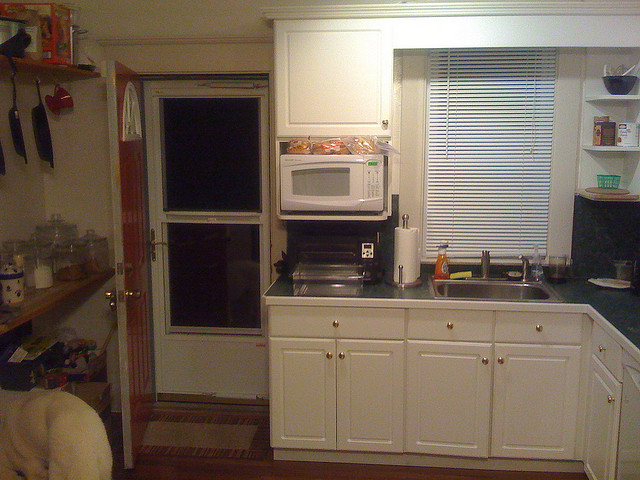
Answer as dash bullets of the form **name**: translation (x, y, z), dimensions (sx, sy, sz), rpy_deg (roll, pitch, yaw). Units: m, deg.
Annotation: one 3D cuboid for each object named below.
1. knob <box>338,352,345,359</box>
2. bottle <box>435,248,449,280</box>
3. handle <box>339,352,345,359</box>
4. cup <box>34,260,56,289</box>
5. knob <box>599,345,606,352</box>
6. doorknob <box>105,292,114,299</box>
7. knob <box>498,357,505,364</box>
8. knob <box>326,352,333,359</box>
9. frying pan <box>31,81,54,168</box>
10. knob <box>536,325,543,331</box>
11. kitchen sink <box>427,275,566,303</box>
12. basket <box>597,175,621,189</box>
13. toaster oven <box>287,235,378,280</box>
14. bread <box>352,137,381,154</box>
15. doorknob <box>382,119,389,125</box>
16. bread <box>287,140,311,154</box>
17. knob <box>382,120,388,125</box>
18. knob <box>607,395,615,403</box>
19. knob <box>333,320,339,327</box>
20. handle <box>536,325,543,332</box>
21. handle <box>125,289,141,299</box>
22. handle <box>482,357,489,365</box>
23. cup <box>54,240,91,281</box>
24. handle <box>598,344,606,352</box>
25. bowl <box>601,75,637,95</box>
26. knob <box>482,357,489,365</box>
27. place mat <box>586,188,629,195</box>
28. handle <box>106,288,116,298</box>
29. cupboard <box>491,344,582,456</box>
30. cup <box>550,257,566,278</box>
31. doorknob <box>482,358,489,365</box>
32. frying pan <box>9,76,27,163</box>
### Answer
- **knob**: translation (0.130, 0.702, 3.414), dimensions (0.036, 0.040, 0.016), rpy_deg (6, 0, -3)
- **bottle**: translation (0.809, 0.157, 3.714), dimensions (0.091, 0.206, 0.058), rpy_deg (3, 9, 12)
- **handle**: translation (0.131, 0.703, 3.410), dimensions (0.026, 0.030, 0.013), rpy_deg (11, -2, -2)
- **cup**: translation (-1.765, 0.211, 3.596), dimensions (0.115, 0.161, 0.210), rpy_deg (-3, 10, -25)
- **knob**: translation (1.565, 0.604, 3.113), dimensions (0.028, 0.026, 0.027), rpy_deg (-2, -31, 21)
- **doorknob**: translation (-1.291, 0.338, 3.452), dimensions (0.067, 0.045, 0.033), rpy_deg (1, 16, -9)
- **knob**: translation (1.075, 0.716, 3.330), dimensions (0.042, 0.042, 0.016), rpy_deg (-2, 9, -14)
- **knob**: translation (0.057, 0.703, 3.420), dimensions (0.032, 0.040, 0.015), rpy_deg (7, -8, 1)
- **frying pan**: translation (-1.856, -0.760, 3.746), dimensions (0.158, 0.589, 0.026), rpy_deg (-1, 6, 22)
- **knob**: translation (1.292, 0.518, 3.304), dimensions (0.036, 0.035, 0.011), rpy_deg (-1, 9, -13)
- **kitchen sink**: translation (1.105, 0.276, 3.652), dimensions (0.690, 0.183, 0.487), rpy_deg (1, 6, 6)
- **basket**: translation (1.833, -0.371, 3.576), dimensions (0.107, 0.062, 0.083), rpy_deg (2, 3, 32)
- **toaster oven**: translation (0.079, 0.114, 3.637), dimensions (0.573, 0.286, 0.042), rpy_deg (1, 9, 0)
- **bread**: translation (0.292, -0.591, 3.525), dimensions (0.177, 0.101, 0.062), rpy_deg (1, 9, 2)
- **doorknob**: translation (0.405, -0.733, 3.484), dimensions (0.040, 0.035, 0.024), rpy_deg (2, 14, 14)
- **bread**: translation (-0.140, -0.591, 3.538), dimensions (0.131, 0.076, 0.045), rpy_deg (3, -5, 1)
- **knob**: translation (0.405, -0.731, 3.484), dimensions (0.031, 0.026, 0.021), rpy_deg (1, 15, 6)
- **knob**: translation (1.547, 0.851, 2.991), dimensions (0.015, 0.046, 0.064), rpy_deg (2, 9, 10)
- **knob**: translation (0.096, 0.506, 3.402), dimensions (0.034, 0.035, 0.008), rpy_deg (10, -7, 6)
- **handle**: translation (1.289, 0.517, 3.304), dimensions (0.037, 0.035, 0.008), rpy_deg (2, 8, 5)
- **handle**: translation (-1.161, 0.336, 3.513), dimensions (0.061, 0.036, 0.059), rpy_deg (3, 13, 3)
- **handle**: translation (0.982, 0.720, 3.337), dimensions (0.034, 0.030, 0.035), rpy_deg (14, 22, 41)
- **cup**: translation (-1.633, 0.133, 3.719), dimensions (0.230, 0.247, 0.148), rpy_deg (-3, 10, -25)
- **handle**: translation (1.562, 0.602, 3.114), dimensions (0.028, 0.021, 0.020), rpy_deg (-3, 26, 28)
- **bowl**: translation (1.866, -0.950, 3.503), dimensions (0.140, 0.071, 0.134), rpy_deg (0, 9, 0)
- **knob**: translation (0.981, 0.718, 3.337), dimensions (0.032, 0.027, 0.031), rpy_deg (-16, 22, -41)
- **place mat**: translation (1.810, -0.307, 3.543), dimensions (0.239, 0.033, 0.122), rpy_deg (4, 9, 23)
- **handle**: translation (-1.346, 0.344, 3.619), dimensions (0.054, 0.047, 0.028), rpy_deg (2, 15, 1)
- **cupboard**: translation (1.328, 0.920, 3.596), dimensions (0.549, 0.658, 0.476), rpy_deg (3, 9, 13)
- **cup**: translation (1.577, 0.179, 3.718), dimensions (0.126, 0.131, 0.121), rpy_deg (0, 5, 0)
- **doorknob**: translation (0.981, 0.721, 3.337), dimensions (0.033, 0.030, 0.032), rpy_deg (-12, 20, -35)
- **frying pan**: translation (-1.940, -0.773, 3.600), dimensions (0.087, 0.556, 0.453), rpy_deg (-4, 10, -28)
